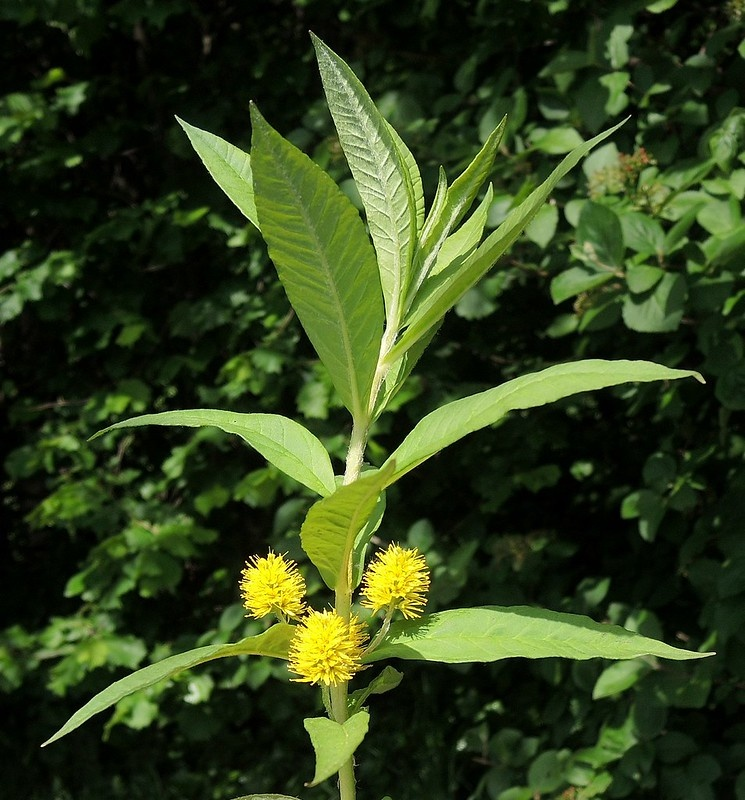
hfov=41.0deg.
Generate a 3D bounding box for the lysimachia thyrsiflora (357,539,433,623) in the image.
[{"bbox_3d":[0.026,0.233,1.270,0.079,0.077,0.062,2,28,6],"label":"lysimachia thyrsiflora"}]

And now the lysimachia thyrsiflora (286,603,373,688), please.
[{"bbox_3d":[-0.076,0.286,1.231,0.086,0.082,0.079,-29,-27,10],"label":"lysimachia thyrsiflora"}]

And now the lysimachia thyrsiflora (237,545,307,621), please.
[{"bbox_3d":[-0.131,0.239,1.282,0.066,0.068,0.064,-8,-16,24],"label":"lysimachia thyrsiflora"}]
